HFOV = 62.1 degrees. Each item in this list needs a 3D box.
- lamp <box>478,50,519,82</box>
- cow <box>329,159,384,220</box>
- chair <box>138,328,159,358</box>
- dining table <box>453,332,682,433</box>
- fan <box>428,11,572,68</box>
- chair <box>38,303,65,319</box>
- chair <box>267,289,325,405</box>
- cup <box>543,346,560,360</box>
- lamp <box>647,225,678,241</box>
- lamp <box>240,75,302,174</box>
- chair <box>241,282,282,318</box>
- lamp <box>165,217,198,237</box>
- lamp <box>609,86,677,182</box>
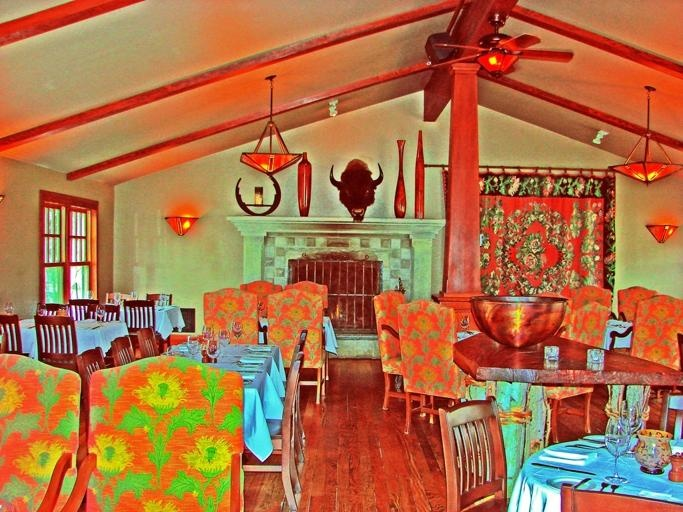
[{"bbox_3d":[1.377,-1.708,5.028,0.291,0.160,0.300,-2,4,-24],"label":"lamp"},{"bbox_3d":[0.242,-1.047,9.239,0.855,0.992,1.027,0,25,6],"label":"cow"},{"bbox_3d":[-1.573,0.721,4.583,0.135,0.276,0.403,-2,4,-20],"label":"chair"},{"bbox_3d":[1.002,0.555,2.687,0.929,0.234,0.574,0,4,5],"label":"dining table"},{"bbox_3d":[1.301,-1.865,5.006,0.962,0.475,0.881,0,10,37],"label":"fan"},{"bbox_3d":[-3.307,0.615,6.455,0.215,0.127,0.213,2,-2,-35],"label":"chair"},{"bbox_3d":[-0.506,0.961,6.318,0.829,1.175,0.828,5,-5,-33],"label":"chair"},{"bbox_3d":[0.957,0.444,2.595,0.060,0.065,0.060,0,-2,0],"label":"cup"},{"bbox_3d":[5.205,-0.393,9.200,0.323,0.187,0.323,1,-3,-13],"label":"lamp"},{"bbox_3d":[-0.925,-1.685,7.166,0.750,1.153,0.696,2,7,9],"label":"lamp"},{"bbox_3d":[-1.174,0.753,8.077,0.525,0.681,0.406,4,-36,-10],"label":"chair"},{"bbox_3d":[-2.630,-0.480,9.266,0.555,0.338,0.218,-1,4,-5],"label":"lamp"},{"bbox_3d":[4.349,-1.603,8.060,0.821,1.135,2.366,1,4,26],"label":"lamp"}]
